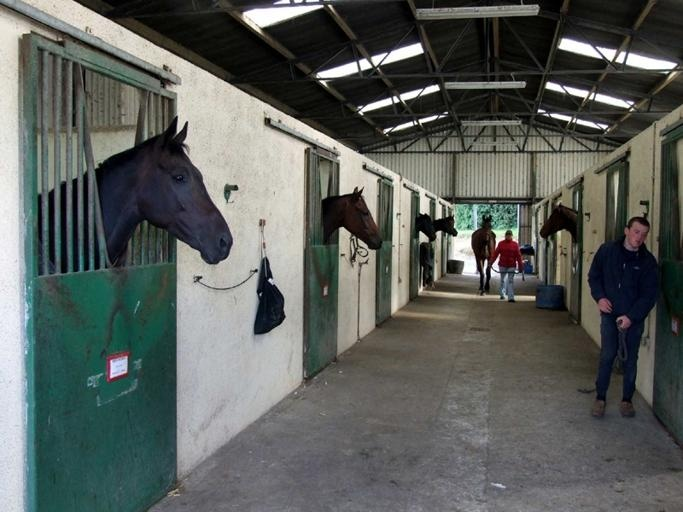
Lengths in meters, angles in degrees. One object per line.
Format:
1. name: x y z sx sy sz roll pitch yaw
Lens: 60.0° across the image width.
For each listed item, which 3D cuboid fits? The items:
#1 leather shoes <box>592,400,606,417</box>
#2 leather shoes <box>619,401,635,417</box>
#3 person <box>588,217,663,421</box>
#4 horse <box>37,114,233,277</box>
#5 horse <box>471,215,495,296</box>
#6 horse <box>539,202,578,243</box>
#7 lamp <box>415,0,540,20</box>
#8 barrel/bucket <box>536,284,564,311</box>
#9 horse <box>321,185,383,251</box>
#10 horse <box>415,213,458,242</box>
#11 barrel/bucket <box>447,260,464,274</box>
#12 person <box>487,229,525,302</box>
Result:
1. leather shoes: 2.224 1.320 5.116 0.064 0.096 0.211 -2 -5 19
2. leather shoes: 2.477 1.329 5.128 0.073 0.119 0.152 -2 -12 14
3. person: 2.367 0.525 5.026 0.569 1.713 0.369 3 4 40
4. horse: -1.360 -0.280 3.527 1.353 0.896 0.474 -4 12 13
5. horse: 3.406 -0.065 14.119 0.456 1.571 2.178 3 4 14
6. horse: 3.759 -0.590 10.194 0.446 0.607 1.184 1 5 10
7. lamp: 2.054 -3.810 9.128 1.511 0.163 0.291 -1 37 0
8. barrel/bucket: 3.911 0.783 11.196 0.389 0.420 0.447 2 10 0
9. horse: -0.013 -0.326 6.594 0.878 0.837 0.354 -3 17 2
10. horse: 2.214 -0.692 13.884 0.653 0.623 2.720 2 5 14
11. barrel/bucket: 4.068 0.375 20.987 0.725 0.501 0.387 -3 5 -35
12. person: 3.442 0.195 12.380 0.659 1.517 1.773 1 4 15
